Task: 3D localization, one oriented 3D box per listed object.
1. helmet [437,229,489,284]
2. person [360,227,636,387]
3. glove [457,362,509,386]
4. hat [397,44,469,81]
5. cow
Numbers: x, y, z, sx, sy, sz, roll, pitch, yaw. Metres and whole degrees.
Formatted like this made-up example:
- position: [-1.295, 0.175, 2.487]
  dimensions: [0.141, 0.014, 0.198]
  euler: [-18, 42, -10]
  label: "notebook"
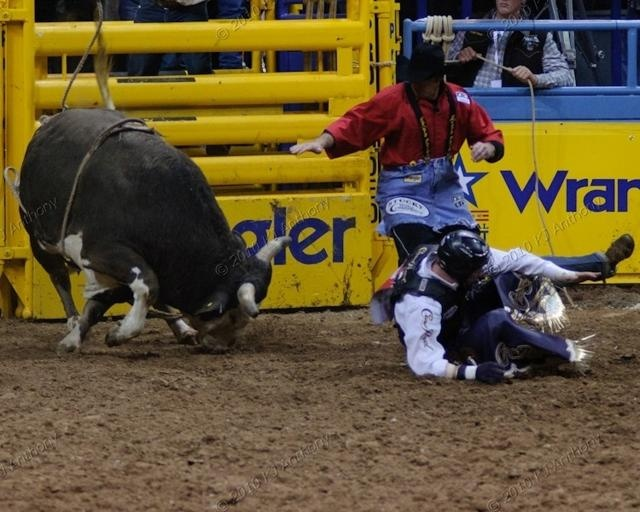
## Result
- position: [0.918, 0.005, 8.410]
  dimensions: [0.370, 0.256, 0.347]
  euler: [3, 14, 45]
  label: "helmet"
- position: [1.223, 0.273, 8.609]
  dimensions: [1.595, 0.838, 0.919]
  euler: [-2, 38, 15]
  label: "person"
- position: [1.067, 0.766, 8.543]
  dimensions: [0.345, 0.147, 0.179]
  euler: [0, 8, 6]
  label: "glove"
- position: [0.720, -1.343, 9.002]
  dimensions: [0.389, 0.272, 0.258]
  euler: [1, 8, 11]
  label: "hat"
- position: [-1.286, -0.119, 9.556]
  dimensions: [2.484, 1.325, 0.833]
  euler: [24, 29, 15]
  label: "cow"
